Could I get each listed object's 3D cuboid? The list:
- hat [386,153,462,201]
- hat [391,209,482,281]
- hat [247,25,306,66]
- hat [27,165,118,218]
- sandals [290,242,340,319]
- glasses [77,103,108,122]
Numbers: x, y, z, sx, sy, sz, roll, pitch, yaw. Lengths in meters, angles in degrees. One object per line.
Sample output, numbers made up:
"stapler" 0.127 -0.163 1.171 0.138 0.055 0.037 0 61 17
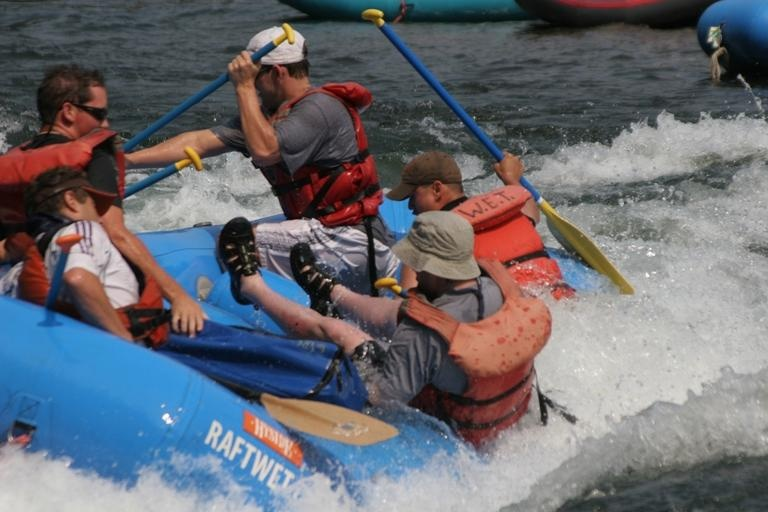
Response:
"hat" 0.292 -0.615 7.515 0.609 0.319 0.390 -8 8 3
"hat" 0.347 -0.057 6.444 0.483 0.260 0.444 22 20 -9
"hat" -0.771 -1.532 7.324 0.378 0.208 0.265 9 41 23
"hat" -2.017 -0.391 6.451 0.439 0.213 0.320 -25 6 -41
"sandals" -0.485 0.056 7.021 0.213 0.631 0.239 -30 67 -13
"glasses" -2.005 -0.997 6.907 0.127 0.038 0.119 23 6 -3
